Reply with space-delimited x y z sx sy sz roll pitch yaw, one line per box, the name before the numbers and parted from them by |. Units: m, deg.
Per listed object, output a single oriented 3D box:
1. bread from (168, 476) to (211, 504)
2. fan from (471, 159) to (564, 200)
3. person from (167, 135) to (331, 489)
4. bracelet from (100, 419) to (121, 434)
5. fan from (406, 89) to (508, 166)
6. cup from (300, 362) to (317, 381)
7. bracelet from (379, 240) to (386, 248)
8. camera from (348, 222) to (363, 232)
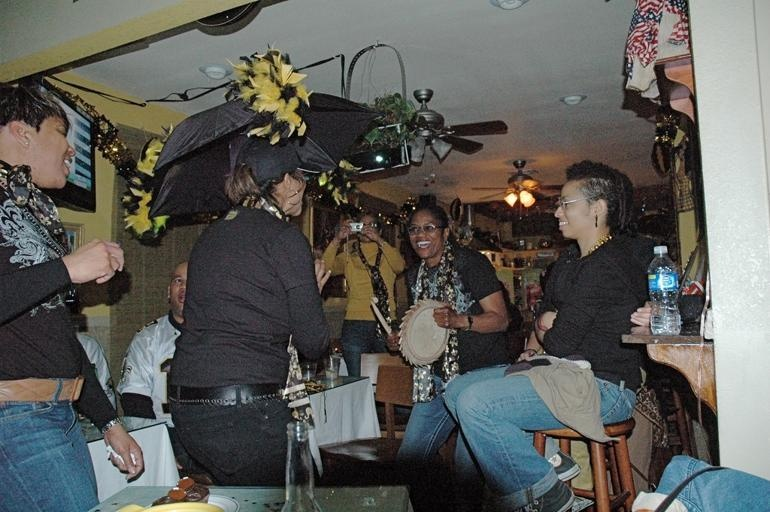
bread | -0.695 0.848 2.011 0.091 0.029 0.092 6 8 35
fan | 2.360 -1.284 9.480 1.435 0.566 1.644 5 4 31
person | -0.645 0.209 2.614 0.744 1.647 0.404 -5 -7 18
bracelet | -1.257 0.789 2.553 0.069 0.030 0.074 -34 3 -9
fan | 0.557 -1.271 5.938 1.120 0.481 0.975 -4 -2 -29
cup | -0.607 0.928 4.468 0.152 0.146 0.146 -1 -9 0
bracelet | -0.030 -0.143 6.647 0.087 0.076 0.029 0 2 -19
camera | -0.342 -0.358 6.462 0.183 0.109 0.103 1 10 3
